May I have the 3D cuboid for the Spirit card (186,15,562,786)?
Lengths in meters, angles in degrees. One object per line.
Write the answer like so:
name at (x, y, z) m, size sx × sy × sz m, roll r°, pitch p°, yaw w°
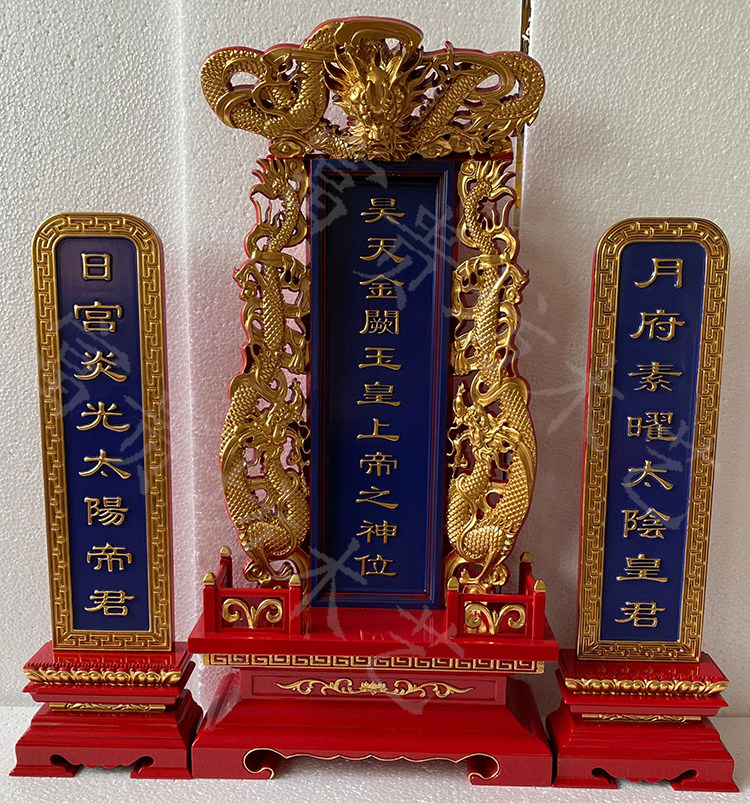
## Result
Spirit card at (0.027, 0.015, 2.736) m, size 0.930 × 1.846 × 0.557 m, roll 2°, pitch 15°, yaw 3°

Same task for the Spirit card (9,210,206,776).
Spirit card at (-0.679, 0.245, 2.694) m, size 0.460 × 1.395 × 0.353 m, roll 0°, pitch 16°, yaw -7°
